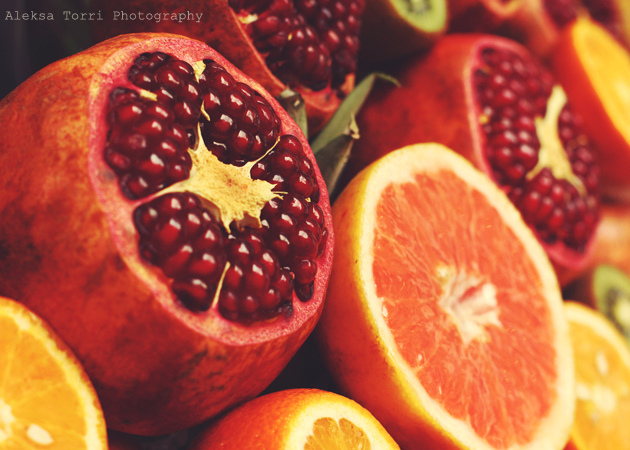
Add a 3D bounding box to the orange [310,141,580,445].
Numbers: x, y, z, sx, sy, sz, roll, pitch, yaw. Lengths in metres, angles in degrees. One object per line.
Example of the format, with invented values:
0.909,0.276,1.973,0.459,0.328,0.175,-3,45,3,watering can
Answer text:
0.130,0.144,1.047,0.408,0.173,0.475,11,60,-54,orange
